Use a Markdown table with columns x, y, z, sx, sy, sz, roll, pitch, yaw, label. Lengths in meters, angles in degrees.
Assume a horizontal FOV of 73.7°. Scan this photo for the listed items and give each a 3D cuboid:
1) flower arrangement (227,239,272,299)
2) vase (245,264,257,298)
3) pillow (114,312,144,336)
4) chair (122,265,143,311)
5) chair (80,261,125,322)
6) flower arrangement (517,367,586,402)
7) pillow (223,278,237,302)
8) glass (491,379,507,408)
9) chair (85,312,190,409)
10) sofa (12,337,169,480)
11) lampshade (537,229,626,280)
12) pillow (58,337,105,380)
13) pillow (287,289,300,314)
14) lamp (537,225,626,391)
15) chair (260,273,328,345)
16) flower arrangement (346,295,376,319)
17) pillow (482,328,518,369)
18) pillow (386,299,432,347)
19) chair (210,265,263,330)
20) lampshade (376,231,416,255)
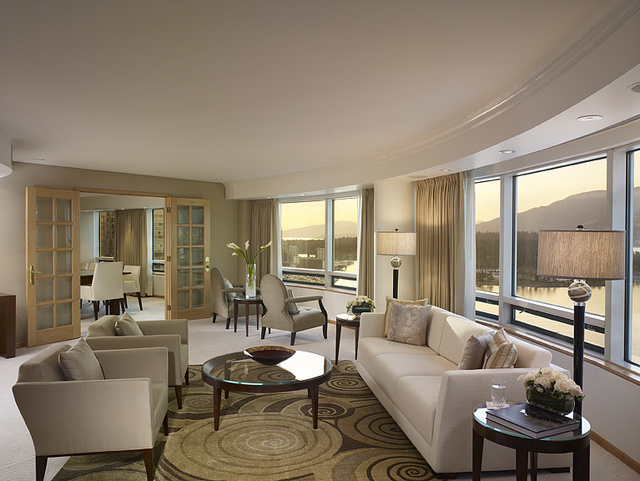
| x | y | z | sx | sy | sz | roll | pitch | yaw | label |
| --- | --- | --- | --- | --- | --- | --- | --- | --- | --- |
| -1.223 | 0.514 | 7.519 | 0.788 | 1.006 | 0.751 | -1 | 0 | -24 | flower arrangement |
| -1.207 | 0.675 | 7.432 | 0.202 | 0.554 | 0.569 | -1 | 4 | -10 | vase |
| -2.006 | 0.895 | 4.499 | 0.260 | 0.190 | 0.360 | 0 | 4 | -7 | pillow |
| -4.254 | 1.097 | 9.638 | 0.600 | 0.879 | 0.606 | -6 | 1 | -39 | chair |
| -4.337 | 0.972 | 8.466 | 0.661 | 1.169 | 0.974 | -3 | 5 | -36 | chair |
| 1.519 | 0.946 | 2.814 | 0.240 | 0.160 | 0.278 | 5 | -3 | 3 | flower arrangement |
| -1.632 | 0.909 | 7.773 | 0.102 | 0.358 | 0.351 | -14 | -8 | -9 | pillow |
| 1.251 | 1.070 | 2.990 | 0.082 | 0.156 | 0.145 | 3 | 5 | 30 | glass |
| -1.912 | 1.263 | 4.598 | 1.003 | 0.986 | 1.032 | -1 | 0 | -26 | chair |
| -1.782 | 1.329 | 3.473 | 0.948 | 0.956 | 0.835 | -1 | 4 | -11 | sofa |
| 1.799 | 0.110 | 2.945 | 0.444 | 0.310 | 0.250 | -4 | -10 | 4 | lampshade |
| -1.958 | 0.986 | 3.528 | 0.114 | 0.291 | 0.335 | -18 | 9 | -12 | pillow |
| -0.435 | 0.947 | 6.568 | 0.088 | 0.287 | 0.268 | 2 | -11 | -16 | pillow |
| 1.866 | 0.619 | 3.105 | 0.514 | 1.469 | 0.527 | -1 | 8 | 19 | lamp |
| -0.439 | 1.009 | 6.827 | 1.007 | 1.076 | 1.033 | -2 | 2 | 17 | chair |
| 0.566 | 0.926 | 5.918 | 0.276 | 0.212 | 0.289 | 2 | -5 | -8 | flower arrangement |
| 1.467 | 0.901 | 3.498 | 0.282 | 0.284 | 0.303 | 0 | 4 | 0 | pillow |
| 1.017 | 0.963 | 4.881 | 0.407 | 0.416 | 0.152 | 5 | -21 | 30 | pillow |
| -1.580 | 1.002 | 7.938 | 0.992 | 1.106 | 1.005 | 0 | 1 | 19 | chair |
| 1.044 | 0.030 | 5.949 | 0.526 | 0.350 | 0.294 | 0 | 3 | 5 | lampshade |
